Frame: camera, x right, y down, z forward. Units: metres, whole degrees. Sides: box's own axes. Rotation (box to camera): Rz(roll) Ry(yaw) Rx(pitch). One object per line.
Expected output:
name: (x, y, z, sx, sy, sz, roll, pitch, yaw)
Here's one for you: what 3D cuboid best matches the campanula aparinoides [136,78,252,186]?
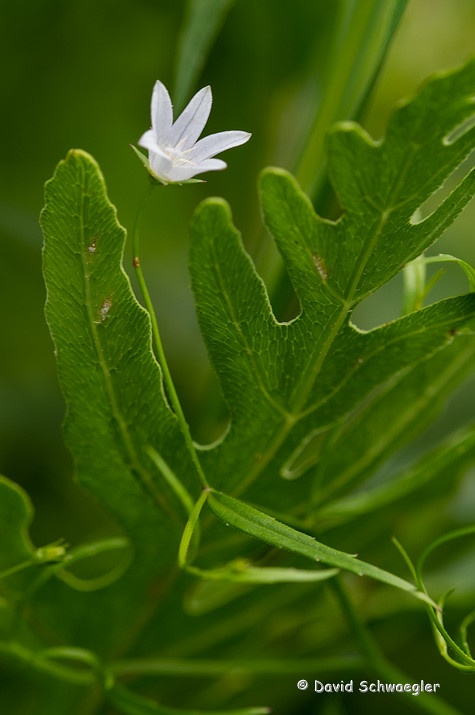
campanula aparinoides: (-0.027, -0.110, 0.340, 0.054, 0.029, 0.061, 12, 48, -18)
